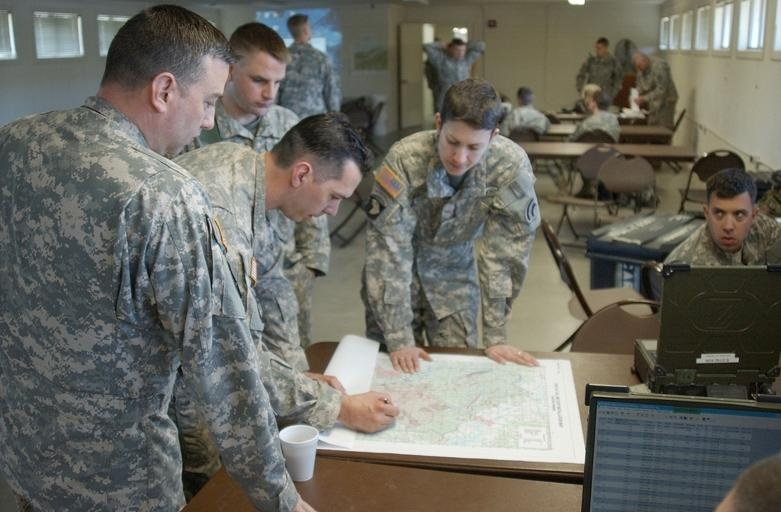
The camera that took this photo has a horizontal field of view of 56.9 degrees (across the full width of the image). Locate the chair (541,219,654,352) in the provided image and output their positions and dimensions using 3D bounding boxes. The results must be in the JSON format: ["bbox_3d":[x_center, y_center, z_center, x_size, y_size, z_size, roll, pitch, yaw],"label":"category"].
[{"bbox_3d":[1.100,0.162,3.830,0.506,0.471,0.685,4,-33,22],"label":"chair"}]

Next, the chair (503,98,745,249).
[{"bbox_3d":[1.610,-0.480,5.455,1.244,0.589,0.650,8,39,10],"label":"chair"}]

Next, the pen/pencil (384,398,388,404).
[{"bbox_3d":[-0.015,0.457,2.269,0.009,0.008,0.010,0,9,5],"label":"pen/pencil"}]

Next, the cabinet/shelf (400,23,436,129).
[{"bbox_3d":[0.130,-1.559,6.377,0.092,0.972,0.373,21,26,12],"label":"cabinet/shelf"}]

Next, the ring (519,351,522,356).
[{"bbox_3d":[0.457,0.345,2.543,0.007,0.006,0.025,-19,5,-3],"label":"ring"}]

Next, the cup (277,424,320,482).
[{"bbox_3d":[-0.237,0.553,2.060,0.137,0.134,0.142,-2,8,0],"label":"cup"}]

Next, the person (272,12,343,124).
[{"bbox_3d":[-0.784,-1.408,6.333,0.618,1.304,0.303,1,-5,-21],"label":"person"}]
